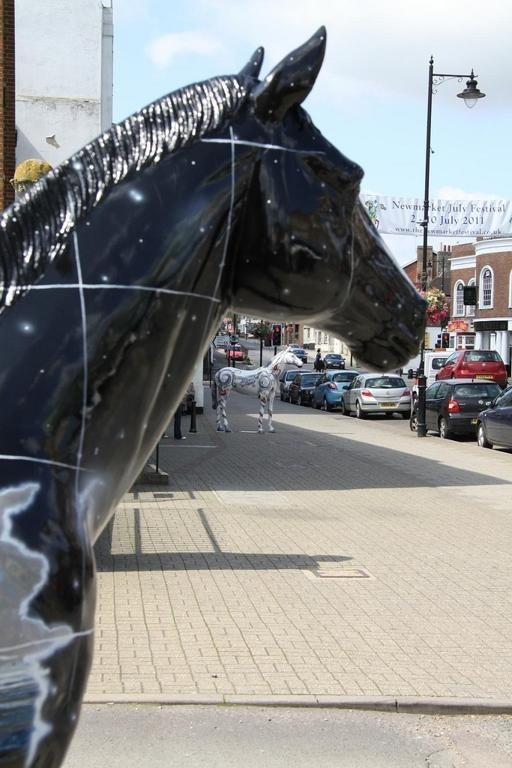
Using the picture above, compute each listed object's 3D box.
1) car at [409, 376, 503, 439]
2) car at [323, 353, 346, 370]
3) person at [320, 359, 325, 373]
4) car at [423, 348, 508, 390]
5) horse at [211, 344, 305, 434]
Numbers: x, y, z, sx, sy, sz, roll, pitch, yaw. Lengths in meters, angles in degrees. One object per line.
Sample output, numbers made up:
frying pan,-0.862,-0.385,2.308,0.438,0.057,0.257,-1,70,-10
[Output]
car,6.243,0.745,22.540,1.463,1.201,2.585,-1,10,-10
car,6.136,-1.466,57.194,1.150,0.854,1.884,0,-3,-5
person,4.717,-1.009,51.777,0.281,1.209,0.649,-6,39,10
car,9.917,-0.548,33.757,2.349,1.745,3.792,0,9,-10
horse,0.044,0.268,22.277,2.773,2.561,0.703,1,-7,5
